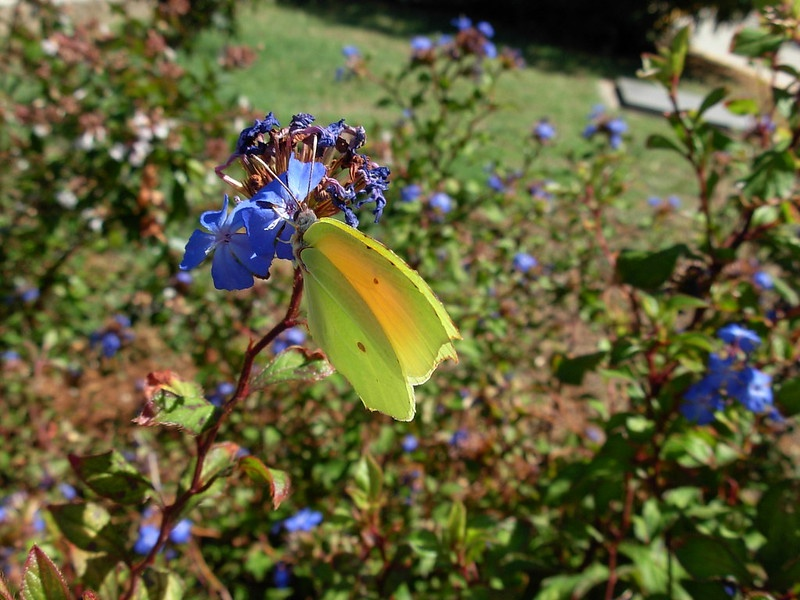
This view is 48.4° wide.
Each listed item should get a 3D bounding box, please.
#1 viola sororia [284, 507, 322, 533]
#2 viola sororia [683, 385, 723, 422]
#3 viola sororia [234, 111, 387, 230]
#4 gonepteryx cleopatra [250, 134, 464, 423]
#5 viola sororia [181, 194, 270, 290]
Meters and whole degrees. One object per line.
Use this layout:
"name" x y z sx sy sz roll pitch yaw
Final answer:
"viola sororia" -0.491 1.109 4.512 0.122 0.041 0.125 -7 40 -8
"viola sororia" 1.221 0.422 3.637 0.163 0.073 0.141 -39 81 -13
"viola sororia" -0.334 -0.539 3.514 0.479 0.242 0.476 37 38 -15
"gonepteryx cleopatra" -0.231 -0.155 3.742 1.163 0.672 0.581 44 33 4
"viola sororia" -0.666 -0.191 3.397 0.335 0.091 0.342 44 100 15
